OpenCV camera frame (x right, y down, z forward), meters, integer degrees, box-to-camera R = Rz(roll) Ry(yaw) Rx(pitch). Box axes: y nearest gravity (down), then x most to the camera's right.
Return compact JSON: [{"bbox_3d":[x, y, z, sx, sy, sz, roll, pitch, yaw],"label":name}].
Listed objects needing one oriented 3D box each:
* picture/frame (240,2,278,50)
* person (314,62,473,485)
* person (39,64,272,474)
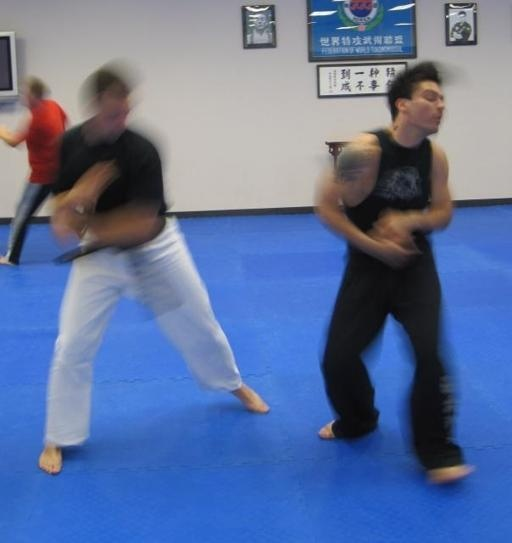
[{"bbox_3d":[0.022,-3.145,6.849,0.580,0.650,0.034,-2,6,-6],"label":"picture/frame"},{"bbox_3d":[0.380,0.005,1.503,0.423,1.146,0.329,-1,12,6],"label":"person"},{"bbox_3d":[-0.335,-0.030,1.620,0.697,1.183,0.353,-7,28,-22],"label":"person"}]
